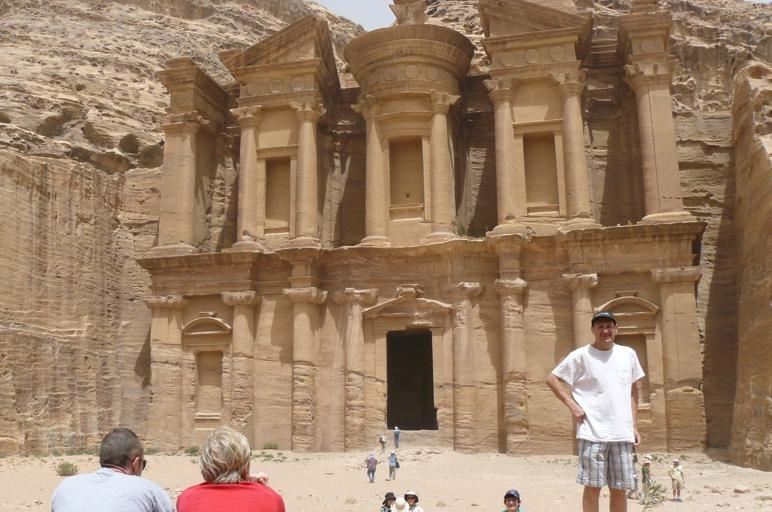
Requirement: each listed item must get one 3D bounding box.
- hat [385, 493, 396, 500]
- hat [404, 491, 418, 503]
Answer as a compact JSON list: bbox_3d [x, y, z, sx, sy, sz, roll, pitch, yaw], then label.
[{"bbox_3d":[0.167,7.885,49.953,0.354,0.132,0.259,-4,-5,-16],"label":"hat"},{"bbox_3d":[0.820,7.901,50.203,0.569,0.183,0.630,0,-23,4],"label":"hat"}]
